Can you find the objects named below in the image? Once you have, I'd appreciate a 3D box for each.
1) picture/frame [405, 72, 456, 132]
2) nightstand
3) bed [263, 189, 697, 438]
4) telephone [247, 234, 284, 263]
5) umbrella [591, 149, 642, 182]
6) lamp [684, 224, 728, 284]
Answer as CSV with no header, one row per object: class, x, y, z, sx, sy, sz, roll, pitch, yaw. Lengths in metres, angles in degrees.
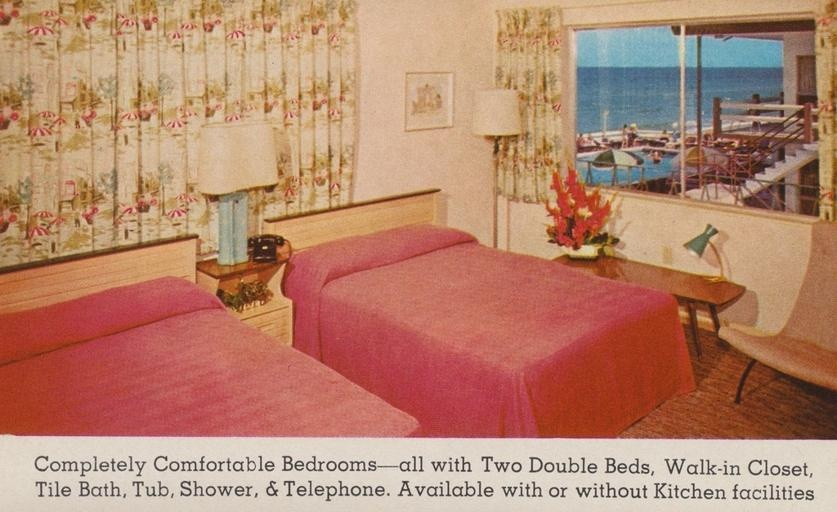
picture/frame,0.106,-1.653,6.227,0.719,0.626,0.045,-10,19,-35
nightstand,-1.444,0.360,4.758,0.457,0.794,0.685,13,22,40
bed,0.147,0.442,4.688,2.111,0.983,2.652,-17,25,-41
telephone,-1.375,-0.098,5.121,0.290,0.119,0.251,-5,15,-26
umbrella,2.202,-1.028,6.355,0.397,0.236,0.359,-3,48,10
lamp,2.754,-0.007,5.478,0.453,0.602,0.263,-14,25,8
